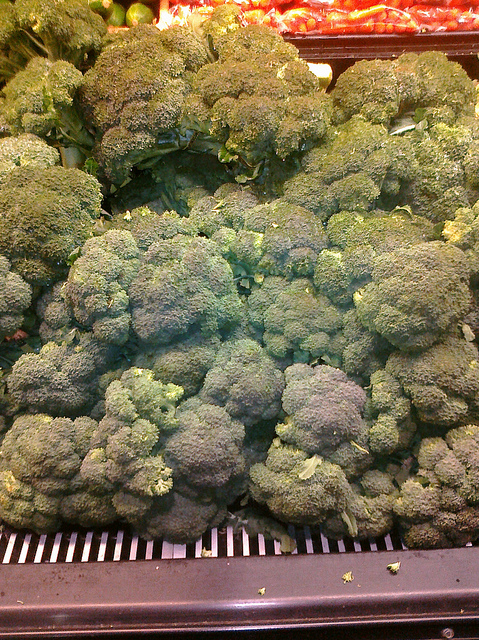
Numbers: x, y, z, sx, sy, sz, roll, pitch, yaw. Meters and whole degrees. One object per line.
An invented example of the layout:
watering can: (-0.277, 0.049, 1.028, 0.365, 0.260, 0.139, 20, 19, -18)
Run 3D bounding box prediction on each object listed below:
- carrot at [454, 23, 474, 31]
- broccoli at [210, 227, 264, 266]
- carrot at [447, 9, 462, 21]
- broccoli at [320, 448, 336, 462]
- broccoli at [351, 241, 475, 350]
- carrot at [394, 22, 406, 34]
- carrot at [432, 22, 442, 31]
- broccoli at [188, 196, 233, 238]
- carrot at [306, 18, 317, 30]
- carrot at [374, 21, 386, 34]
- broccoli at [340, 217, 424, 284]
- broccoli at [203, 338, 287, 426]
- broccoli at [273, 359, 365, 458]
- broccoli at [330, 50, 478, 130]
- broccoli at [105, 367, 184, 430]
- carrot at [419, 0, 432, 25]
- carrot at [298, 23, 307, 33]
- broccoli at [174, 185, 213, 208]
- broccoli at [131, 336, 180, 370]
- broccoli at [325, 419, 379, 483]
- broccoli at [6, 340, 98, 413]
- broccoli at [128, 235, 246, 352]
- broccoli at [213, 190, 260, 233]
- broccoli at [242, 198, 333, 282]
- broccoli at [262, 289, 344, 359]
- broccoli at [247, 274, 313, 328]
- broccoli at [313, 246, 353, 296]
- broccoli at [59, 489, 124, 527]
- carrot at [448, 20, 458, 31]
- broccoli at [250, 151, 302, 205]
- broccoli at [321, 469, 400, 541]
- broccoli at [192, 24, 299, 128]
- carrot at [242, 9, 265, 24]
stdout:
carrot: (1.777, -2.308, 4.066, 0.069, 0.040, 0.080, -12, 15, -37)
broccoli: (-0.024, -0.527, 3.580, 0.329, 0.132, 0.235, 28, 9, 38)
carrot: (1.678, -2.387, 4.036, 0.100, 0.088, 0.049, -5, 40, -3)
broccoli: (0.547, 0.836, 3.196, 0.080, 0.069, 0.019, -6, 5, -4)
broccoli: (1.060, -0.146, 3.073, 0.725, 0.211, 0.643, -30, 40, 13)
carrot: (1.263, -2.301, 4.062, 0.078, 0.072, 0.035, -9, 41, -11)
carrot: (1.543, -2.307, 4.054, 0.071, 0.054, 0.026, 3, 40, 3)
broccoli: (-0.227, -0.748, 3.784, 0.277, 0.118, 0.316, -35, 56, -3)
carrot: (0.571, -2.346, 4.091, 0.069, 0.072, 0.066, 6, 17, 21)
carrot: (1.104, -2.302, 4.067, 0.084, 0.073, 0.043, -9, 16, 5)
broccoli: (0.904, -0.420, 3.348, 0.454, 0.170, 0.490, -26, 49, 7)
broccoli: (0.029, 0.392, 3.296, 0.532, 0.289, 0.535, -26, 81, -19)
broccoli: (0.522, 0.601, 3.430, 0.538, 0.262, 0.573, -31, 41, -8)
broccoli: (1.176, -1.563, 3.718, 0.802, 0.396, 0.622, -19, 15, -12)
broccoli: (-0.567, 0.504, 3.133, 0.412, 0.132, 0.379, 24, 44, -6)
carrot: (1.447, -2.392, 4.037, 0.124, 0.146, 0.056, -14, -6, -42)
carrot: (0.500, -2.327, 4.108, 0.056, 0.055, 0.022, 4, 41, 5)
broccoli: (-0.371, -0.961, 3.945, 0.197, 0.061, 0.230, -25, 50, -7)
broccoli: (-0.529, 0.244, 3.389, 0.251, 0.068, 0.212, -41, 43, -9)
broccoli: (0.691, 0.818, 3.392, 0.400, 0.334, 0.217, -64, 20, -6)
broccoli: (-1.141, 0.404, 3.370, 0.461, 0.268, 0.489, 41, 73, 19)
broccoli: (-0.386, -0.155, 3.269, 0.818, 0.701, 0.234, -5, -1, -23)
broccoli: (0.021, -0.759, 3.700, 0.314, 0.129, 0.270, 29, 72, 32)
broccoli: (0.307, -0.545, 3.469, 0.549, 0.179, 0.564, -28, 77, -14)
broccoli: (0.403, 0.043, 3.410, 0.500, 0.432, 0.152, 3, -4, 10)
broccoli: (0.283, -0.122, 3.641, 0.330, 0.133, 0.423, 22, 74, 32)
broccoli: (0.647, -0.361, 3.424, 0.291, 0.139, 0.325, 4, 82, -8)
broccoli: (-0.911, 1.186, 3.223, 0.362, 0.102, 0.241, 6, 35, -1)
carrot: (1.673, -2.318, 4.058, 0.079, 0.071, 0.033, -16, 43, -19)
broccoli: (0.269, -1.029, 3.739, 0.378, 0.346, 0.092, -18, 48, -11)
broccoli: (0.812, 1.187, 3.292, 0.401, 0.212, 0.411, 2, 64, 11)
broccoli: (0.005, -1.709, 3.586, 0.562, 0.528, 0.737, 22, 43, 24)
carrot: (0.114, -2.426, 4.121, 0.165, 0.080, 0.185, 2, 37, 2)
